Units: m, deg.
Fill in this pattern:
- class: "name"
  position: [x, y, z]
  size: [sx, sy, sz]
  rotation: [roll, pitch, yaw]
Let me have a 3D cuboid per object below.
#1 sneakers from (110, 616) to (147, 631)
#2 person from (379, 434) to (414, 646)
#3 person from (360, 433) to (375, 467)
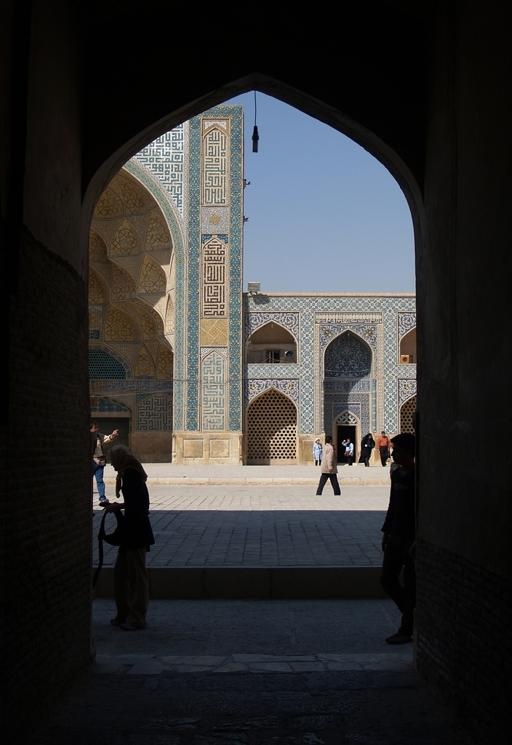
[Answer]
- class: "sneakers"
  position: [-0.620, 1.217, 3.592]
  size: [0.203, 0.096, 0.068]
  rotation: [-7, -11, 18]
- class: "person"
  position: [0.653, 0.756, 3.401]
  size: [0.146, 0.941, 0.185]
  rotation: [-1, -4, 10]
- class: "person"
  position: [2.571, 1.784, 17.046]
  size: [0.323, 0.740, 0.750]
  rotation: [0, -4, 8]
